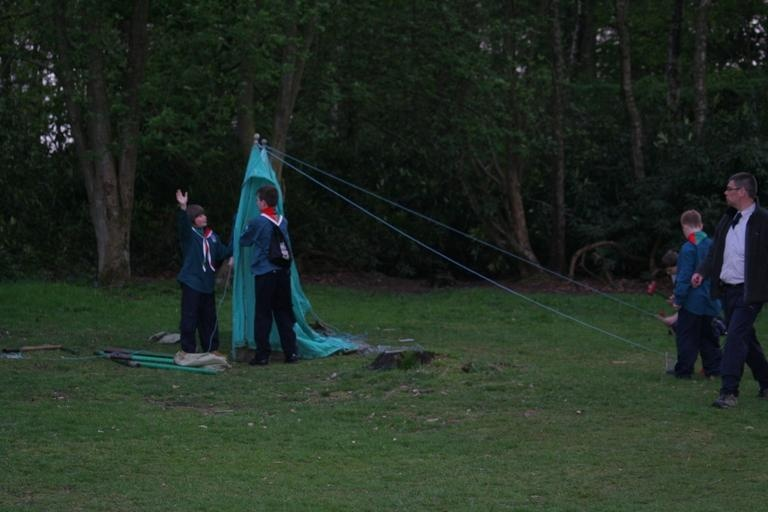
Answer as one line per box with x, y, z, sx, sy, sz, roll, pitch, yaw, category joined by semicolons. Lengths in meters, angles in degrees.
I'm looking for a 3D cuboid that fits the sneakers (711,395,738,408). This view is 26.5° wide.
7.979;3.437;38.305;0.536;0.219;0.267;-14;5;1;sneakers

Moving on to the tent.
-2.328;-0.271;42.486;3.026;5.600;2.162;0;0;16;tent

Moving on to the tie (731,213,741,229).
8.291;-0.837;38.547;0.127;0.300;0.232;21;6;11;tie

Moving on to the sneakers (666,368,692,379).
7.187;2.898;39.904;0.624;0.211;0.202;-4;-3;30;sneakers
